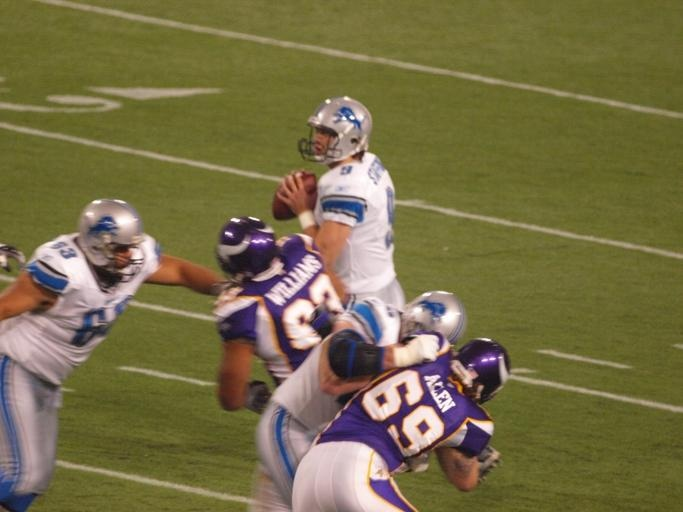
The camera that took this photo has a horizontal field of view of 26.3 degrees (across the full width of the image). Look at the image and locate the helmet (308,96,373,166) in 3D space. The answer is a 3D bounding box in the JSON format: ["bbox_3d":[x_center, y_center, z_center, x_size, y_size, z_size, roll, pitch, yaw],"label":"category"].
[{"bbox_3d":[-0.064,-1.104,13.300,0.605,0.612,0.491,9,33,18],"label":"helmet"}]

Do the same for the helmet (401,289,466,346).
[{"bbox_3d":[0.799,0.448,11.843,0.490,0.410,0.485,8,22,23],"label":"helmet"}]

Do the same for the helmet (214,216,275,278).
[{"bbox_3d":[-0.789,-0.066,12.039,0.506,0.491,0.263,20,16,0],"label":"helmet"}]

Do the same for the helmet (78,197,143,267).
[{"bbox_3d":[-1.897,-0.253,12.321,0.480,0.561,0.504,22,32,36],"label":"helmet"}]

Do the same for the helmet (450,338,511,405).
[{"bbox_3d":[1.117,0.870,11.765,0.435,0.492,0.413,14,22,23],"label":"helmet"}]
